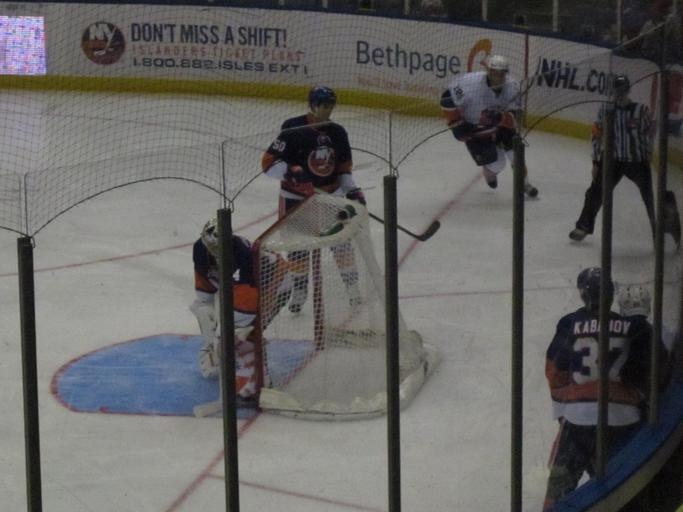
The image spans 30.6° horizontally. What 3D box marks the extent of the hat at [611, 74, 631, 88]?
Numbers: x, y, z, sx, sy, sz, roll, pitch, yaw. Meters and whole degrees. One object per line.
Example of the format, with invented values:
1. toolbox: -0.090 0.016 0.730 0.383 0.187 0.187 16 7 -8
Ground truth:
1. hat: 1.592 -1.015 7.204 0.079 0.072 0.120 -1 10 3

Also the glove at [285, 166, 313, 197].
1. glove: -0.278 -0.487 8.208 0.167 0.230 0.239 2 12 -2

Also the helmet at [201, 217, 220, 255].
1. helmet: -0.785 -0.106 7.439 0.085 0.252 0.413 0 12 -11

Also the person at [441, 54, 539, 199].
1. person: 1.169 -1.026 9.865 0.694 1.123 0.563 -3 23 14

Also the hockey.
1. hockey: 0.226 -0.264 8.284 0.616 0.204 0.091 39 -11 5

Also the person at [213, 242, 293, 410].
1. person: -0.512 0.380 7.571 0.229 0.821 0.621 2 -6 8

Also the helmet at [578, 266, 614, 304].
1. helmet: 1.461 0.162 7.282 0.168 0.208 0.208 1 25 6

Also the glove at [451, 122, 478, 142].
1. glove: 0.956 -0.979 9.819 0.180 0.150 0.176 -2 11 -2

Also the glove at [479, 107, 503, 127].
1. glove: 1.081 -1.008 9.117 0.169 0.083 0.216 3 36 4

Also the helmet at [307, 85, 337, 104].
1. helmet: -0.138 -1.026 8.010 0.160 0.135 0.125 -5 18 2

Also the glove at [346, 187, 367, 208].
1. glove: 0.092 -0.376 8.112 0.145 0.103 0.066 -1 23 29
